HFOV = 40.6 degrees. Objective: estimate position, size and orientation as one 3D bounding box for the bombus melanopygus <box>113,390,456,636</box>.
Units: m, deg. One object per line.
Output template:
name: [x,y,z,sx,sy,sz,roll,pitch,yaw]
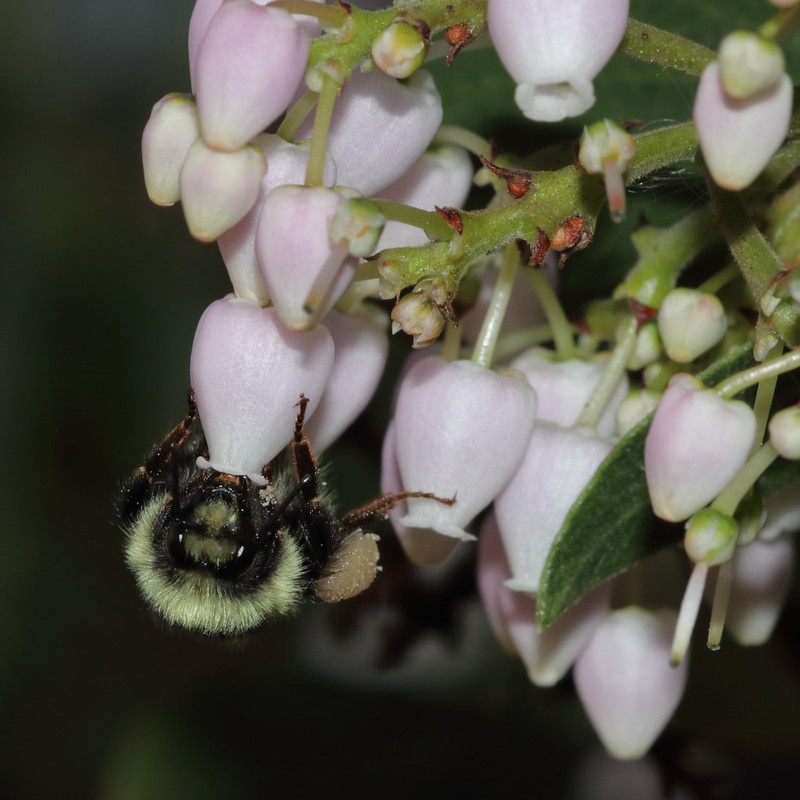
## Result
bombus melanopygus: [-0.158,0.136,1.129,0.255,0.286,0.112,-1,32,10]
